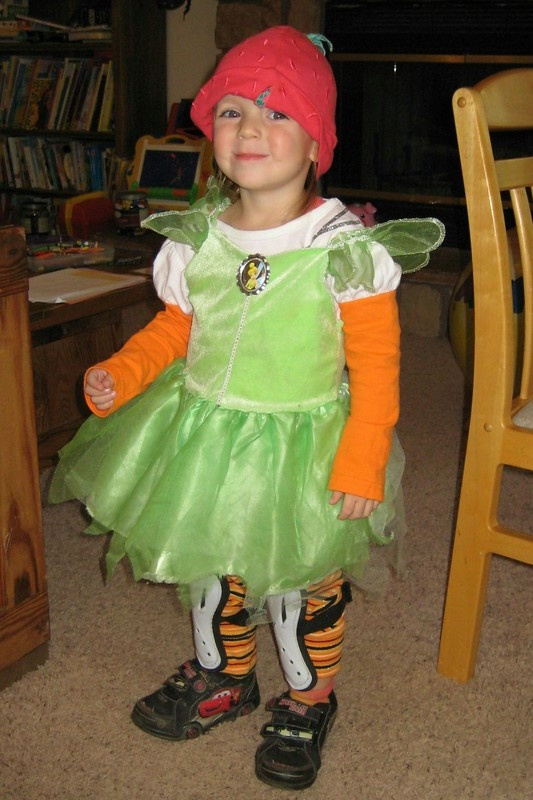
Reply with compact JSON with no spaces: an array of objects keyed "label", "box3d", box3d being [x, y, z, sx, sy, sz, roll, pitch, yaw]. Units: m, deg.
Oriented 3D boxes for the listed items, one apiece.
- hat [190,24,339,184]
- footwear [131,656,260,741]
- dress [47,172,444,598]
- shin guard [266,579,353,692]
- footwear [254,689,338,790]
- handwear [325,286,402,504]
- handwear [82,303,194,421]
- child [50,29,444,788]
[{"label":"hat","box3d":[0.013,-0.357,0.739,0.152,0.152,0.188,28,43,24]},{"label":"footwear","box3d":[-0.102,0.407,0.885,0.159,0.075,0.079,-9,18,-29]},{"label":"dress","box3d":[-0.025,-0.045,0.780,0.373,0.365,0.317,9,5,25]},{"label":"shin guard","box3d":[0.050,0.295,0.813,0.090,0.149,0.108,0,-7,-30]},{"label":"footwear","box3d":[0.044,0.434,0.830,0.081,0.073,0.189,5,4,22]},{"label":"handwear","box3d":[0.110,-0.013,0.697,0.072,0.244,0.062,12,-18,-20]},{"label":"handwear","box3d":[-0.145,-0.060,0.858,0.088,0.214,0.078,30,-25,11]},{"label":"child","box3d":[-0.044,0.026,0.785,0.465,0.885,0.403,5,8,26]}]
